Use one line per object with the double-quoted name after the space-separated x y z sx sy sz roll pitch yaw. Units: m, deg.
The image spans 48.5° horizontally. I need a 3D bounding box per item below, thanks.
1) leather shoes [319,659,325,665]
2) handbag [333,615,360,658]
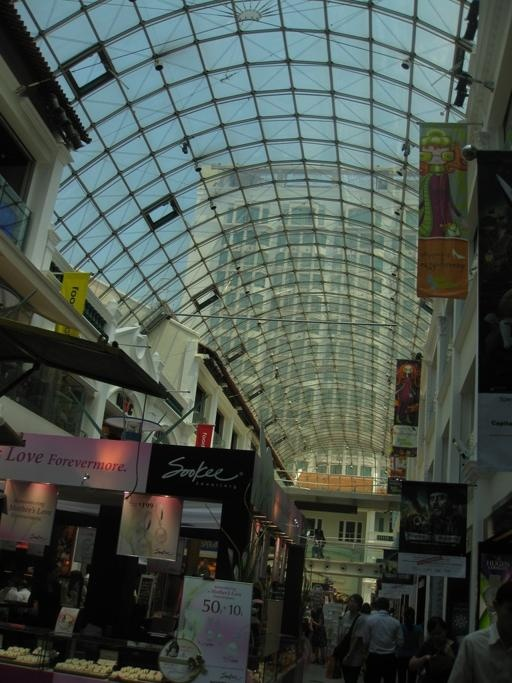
2.813 13.575 24.131 0.183 0.169 0.323 -2 -3 6 "leather shoes"
1.701 5.677 10.825 0.218 0.866 0.245 25 0 17 "handbag"
